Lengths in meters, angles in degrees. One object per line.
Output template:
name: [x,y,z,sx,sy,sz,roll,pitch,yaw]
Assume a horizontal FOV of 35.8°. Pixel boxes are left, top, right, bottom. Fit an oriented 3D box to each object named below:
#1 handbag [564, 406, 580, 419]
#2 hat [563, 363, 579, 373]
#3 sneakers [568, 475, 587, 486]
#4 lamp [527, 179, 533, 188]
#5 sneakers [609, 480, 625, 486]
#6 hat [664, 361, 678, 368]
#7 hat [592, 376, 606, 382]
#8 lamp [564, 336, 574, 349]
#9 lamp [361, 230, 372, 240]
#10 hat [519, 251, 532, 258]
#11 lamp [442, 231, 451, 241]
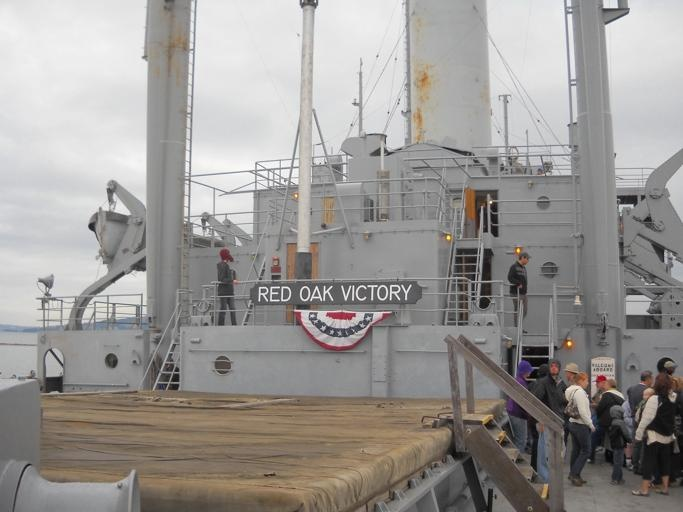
handbag: [4.894,3.290,22.358,0.140,0.343,0.310,-5,5,-27]
hat: [4.966,2.440,23.001,0.335,0.166,0.351,-1,-8,33]
sneakers: [5.058,4.835,22.747,0.427,0.217,0.148,-2,-5,28]
lamp: [5.585,-2.143,31.137,0.183,0.291,0.190,-2,-11,12]
sneakers: [5.956,4.883,22.767,0.256,0.125,0.101,0,-3,1]
hat: [7.084,2.339,22.804,0.298,0.146,0.414,1,-1,0]
hat: [6.122,2.881,24.896,0.180,0.158,0.273,-1,-7,8]
lamp: [5.855,2.260,27.345,0.231,0.307,0.241,-1,-4,-3]
lamp: [0.668,-0.538,27.593,0.226,0.262,0.185,-2,-5,23]
hat: [4.680,-0.040,26.859,0.261,0.159,0.207,-2,-3,11]
lamp: [2.817,-0.540,28.085,0.142,0.273,0.260,-5,-10,12]
